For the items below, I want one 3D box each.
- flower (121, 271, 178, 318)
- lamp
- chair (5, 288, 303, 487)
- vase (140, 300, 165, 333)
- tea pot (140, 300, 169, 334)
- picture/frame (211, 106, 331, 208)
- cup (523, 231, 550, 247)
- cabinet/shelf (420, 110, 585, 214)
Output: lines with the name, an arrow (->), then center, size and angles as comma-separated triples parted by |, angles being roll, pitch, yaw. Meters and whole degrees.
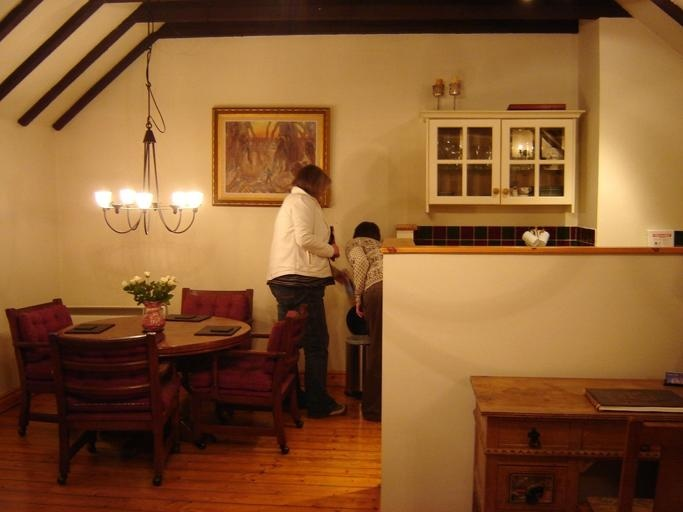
flower -> -1.517, 0.261, 4.857 | 0.495, 0.450, 0.504 | -1, 0, -7
lamp -> -1.708, -1.073, 5.389 | 0.974, 1.961, 1.326 | -6, 16, -23
chair -> -1.222, 0.942, 4.512 | 1.803, 1.089, 0.970 | -7, 16, -28
vase -> -1.417, 0.470, 4.631 | 0.212, 0.249, 0.187 | 2, -1, 3
tea pot -> -1.459, 0.482, 4.765 | 0.255, 0.279, 0.197 | 2, -1, -2
picture/frame -> -0.611, -0.961, 5.693 | 0.984, 0.868, 0.087 | 1, 1, 1
cup -> 1.213, -0.109, 3.792 | 0.125, 0.110, 0.189 | 3, 15, 10
cabinet/shelf -> 1.450, -0.808, 5.569 | 1.343, 0.944, 0.310 | 1, -3, 8
